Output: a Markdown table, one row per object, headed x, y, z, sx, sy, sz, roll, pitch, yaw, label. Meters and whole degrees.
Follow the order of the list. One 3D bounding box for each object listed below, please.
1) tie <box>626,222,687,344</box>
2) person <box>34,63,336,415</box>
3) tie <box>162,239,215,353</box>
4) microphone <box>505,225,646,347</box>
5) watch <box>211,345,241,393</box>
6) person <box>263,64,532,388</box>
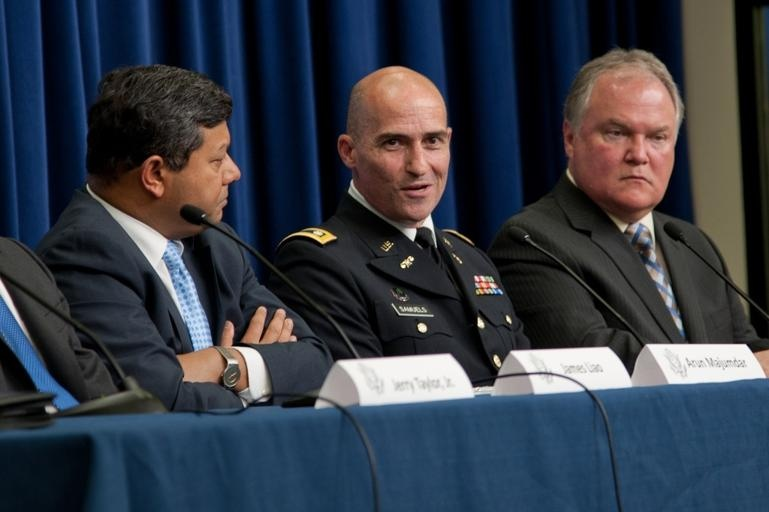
| x | y | z | sx | sy | sz | roll | pitch | yaw | label |
| --- | --- | --- | --- | --- | --- | --- | --- | --- | --- |
| 0.904 | 0.037 | 3.291 | 0.092 | 0.557 | 0.068 | -6 | -37 | -11 | tie |
| -0.630 | 0.011 | 3.039 | 0.818 | 1.189 | 1.117 | -3 | 2 | 10 | person |
| -0.557 | 0.126 | 2.713 | 0.084 | 0.439 | 0.073 | -13 | -9 | -23 | tie |
| 0.613 | 0.108 | 3.071 | 0.054 | 0.505 | 0.058 | -44 | 20 | -3 | microphone |
| -0.415 | 0.300 | 2.560 | 0.060 | 0.098 | 0.099 | 3 | 14 | -28 | watch |
| 0.010 | -0.098 | 3.104 | 0.919 | 1.049 | 0.583 | 7 | -20 | -28 | person |
